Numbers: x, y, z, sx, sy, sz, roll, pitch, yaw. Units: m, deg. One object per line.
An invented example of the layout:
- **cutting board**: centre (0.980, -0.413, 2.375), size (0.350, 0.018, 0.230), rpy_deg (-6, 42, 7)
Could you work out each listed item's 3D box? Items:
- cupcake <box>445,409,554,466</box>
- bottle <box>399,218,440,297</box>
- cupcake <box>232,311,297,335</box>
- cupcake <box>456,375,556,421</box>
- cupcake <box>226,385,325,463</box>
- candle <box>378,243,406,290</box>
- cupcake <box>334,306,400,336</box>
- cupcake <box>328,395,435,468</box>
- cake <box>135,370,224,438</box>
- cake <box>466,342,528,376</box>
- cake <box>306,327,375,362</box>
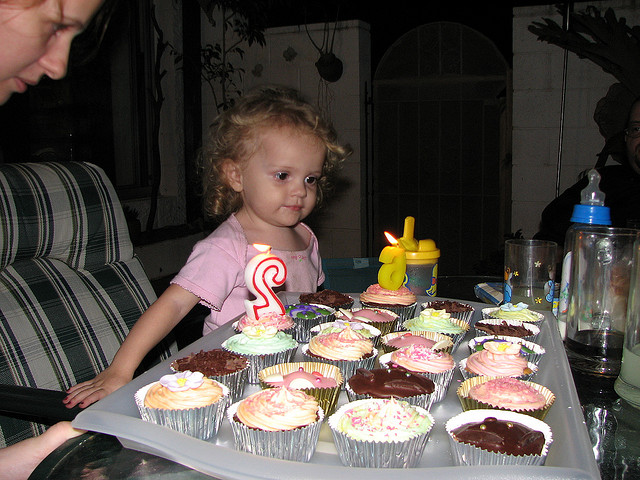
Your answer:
- **cupcake**: centre (0.369, 0.354, 0.934), size (0.151, 0.089, 0.193), rpy_deg (-3, 8, -43)
- **bottle**: centre (0.354, 0.064, 1.688), size (0.169, 0.272, 0.175), rpy_deg (-2, 9, 0)
- **cupcake**: centre (-0.148, 0.215, 1.410), size (0.153, 0.075, 0.172), rpy_deg (-4, 6, -33)
- **cupcake**: centre (0.397, 0.303, 1.007), size (0.168, 0.084, 0.149), rpy_deg (4, 6, 24)
- **cupcake**: centre (-0.089, 0.387, 0.999), size (0.194, 0.137, 0.185), rpy_deg (6, 3, -24)
- **candle**: centre (0.240, 0.087, 1.558), size (0.085, 0.150, 0.130), rpy_deg (2, 8, 10)
- **cupcake**: centre (0.142, 0.231, 1.454), size (0.144, 0.093, 0.147), rpy_deg (-5, 8, -29)
- **cupcake**: centre (0.117, 0.349, 0.960), size (0.178, 0.124, 0.183), rpy_deg (2, 4, -21)
- **cake**: centre (-0.297, 0.365, 1.047), size (0.189, 0.124, 0.188), rpy_deg (0, -1, -12)
- **cake**: centre (0.430, 0.274, 1.138), size (0.090, 0.046, 0.089), rpy_deg (1, 2, -8)
- **cake**: centre (0.066, 0.287, 1.314), size (0.182, 0.093, 0.185), rpy_deg (1, 8, -2)
